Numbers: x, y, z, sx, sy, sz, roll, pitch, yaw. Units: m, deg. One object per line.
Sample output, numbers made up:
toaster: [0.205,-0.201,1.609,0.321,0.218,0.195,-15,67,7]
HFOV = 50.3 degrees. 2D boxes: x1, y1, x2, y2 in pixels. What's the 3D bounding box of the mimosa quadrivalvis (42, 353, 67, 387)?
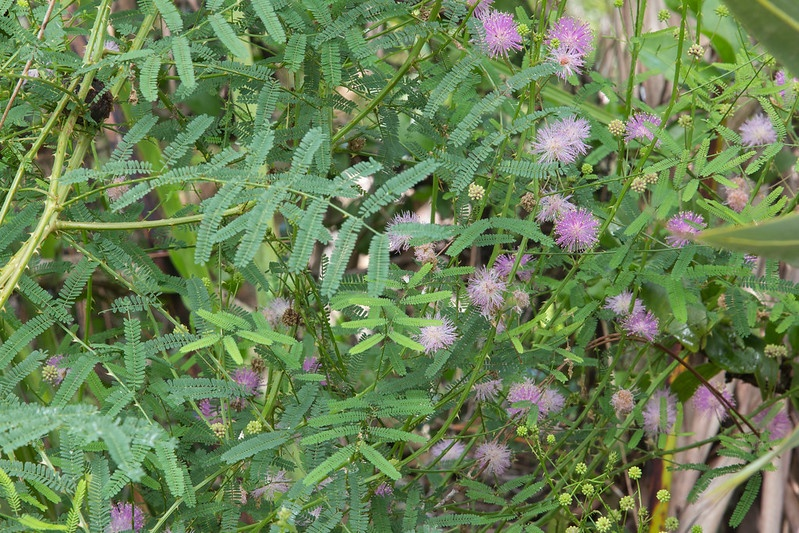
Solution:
mimosa quadrivalvis: [-0.824,0.253,2.048,0.072,0.084,0.056,10,58,-18]
